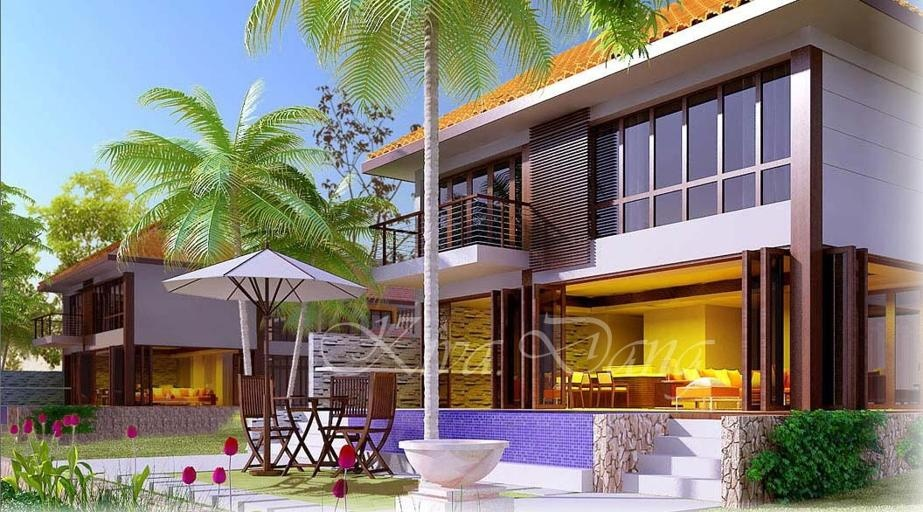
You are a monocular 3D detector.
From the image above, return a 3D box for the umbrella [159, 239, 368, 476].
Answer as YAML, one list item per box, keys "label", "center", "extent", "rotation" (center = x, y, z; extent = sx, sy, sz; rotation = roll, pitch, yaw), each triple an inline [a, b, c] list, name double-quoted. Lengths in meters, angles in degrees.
- label: "umbrella"
  center: [-4.475, 2.223, 18.811]
  extent: [5.289, 4.934, 5.308]
  rotation: [3, -7, -25]

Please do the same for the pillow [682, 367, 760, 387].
- label: "pillow"
  center: [7.439, 3.501, 21.513]
  extent: [2.098, 0.660, 2.005]
  rotation: [-6, -17, 15]
